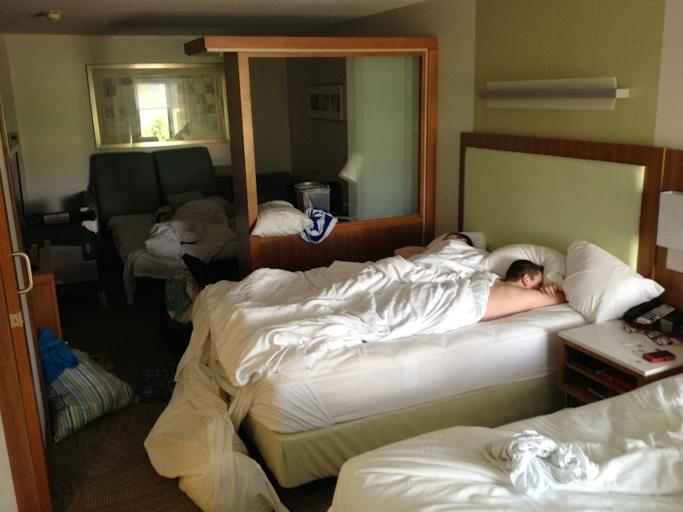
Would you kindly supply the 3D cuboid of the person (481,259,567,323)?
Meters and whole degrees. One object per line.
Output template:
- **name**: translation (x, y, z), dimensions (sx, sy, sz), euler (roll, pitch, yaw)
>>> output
- **person**: translation (1.104, 0.207, 3.620), dimensions (0.767, 0.267, 0.421), euler (-6, 15, 6)

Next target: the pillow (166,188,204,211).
- **pillow**: translation (-1.858, -0.709, 6.264), dimensions (0.379, 0.107, 0.234), euler (-13, 49, -32)

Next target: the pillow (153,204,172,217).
- **pillow**: translation (-2.083, -0.540, 6.218), dimensions (0.175, 0.062, 0.171), euler (-23, 34, -24)

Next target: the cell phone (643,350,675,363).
- **cell phone**: translation (1.677, 0.526, 2.801), dimensions (0.180, 0.030, 0.083), euler (-8, 17, -19)

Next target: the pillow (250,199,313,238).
- **pillow**: translation (-0.503, -0.304, 4.293), dimensions (0.328, 0.109, 0.337), euler (-8, 36, -19)

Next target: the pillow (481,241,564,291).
- **pillow**: translation (1.337, 0.110, 3.649), dimensions (0.369, 0.120, 0.366), euler (-7, 14, -11)

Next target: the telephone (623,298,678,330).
- **telephone**: translation (1.820, 0.305, 3.111), dimensions (0.226, 0.061, 0.158), euler (-25, 29, -23)
